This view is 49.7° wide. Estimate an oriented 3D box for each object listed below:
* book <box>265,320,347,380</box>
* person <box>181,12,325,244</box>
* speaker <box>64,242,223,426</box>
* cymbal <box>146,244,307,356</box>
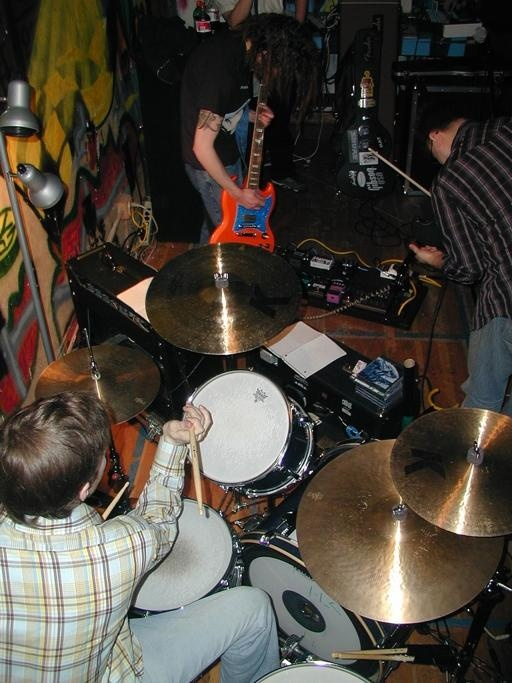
[{"bbox_3d":[0.279,0.044,3.003,0.284,0.034,0.314,-32,49,-20],"label":"book"},{"bbox_3d":[-0.057,-1.257,3.366,0.791,1.296,0.613,-1,30,-6],"label":"person"},{"bbox_3d":[-0.510,-0.036,2.547,0.792,0.782,0.305,29,49,28],"label":"speaker"},{"bbox_3d":[-0.133,-0.197,2.313,0.638,0.257,0.544,-4,31,-12],"label":"cymbal"}]
